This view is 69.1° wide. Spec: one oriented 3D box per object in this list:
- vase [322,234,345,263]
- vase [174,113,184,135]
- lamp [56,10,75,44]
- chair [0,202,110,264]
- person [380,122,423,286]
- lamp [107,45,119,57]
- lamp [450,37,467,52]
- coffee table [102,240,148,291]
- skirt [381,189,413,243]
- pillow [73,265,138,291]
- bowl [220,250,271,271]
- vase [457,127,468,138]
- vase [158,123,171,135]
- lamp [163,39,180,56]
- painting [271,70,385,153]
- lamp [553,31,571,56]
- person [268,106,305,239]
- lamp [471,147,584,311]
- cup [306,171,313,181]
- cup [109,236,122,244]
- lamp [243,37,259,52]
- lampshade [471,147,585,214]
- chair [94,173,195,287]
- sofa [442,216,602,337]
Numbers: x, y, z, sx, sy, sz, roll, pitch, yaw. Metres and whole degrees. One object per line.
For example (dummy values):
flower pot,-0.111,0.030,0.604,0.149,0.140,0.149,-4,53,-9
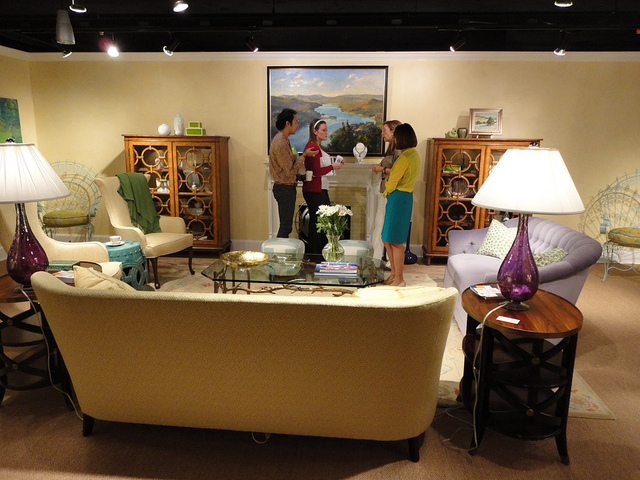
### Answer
vase,0.151,0.079,4.509,0.228,0.321,0.233,0,7,5
vase,-1.927,-1.585,6.412,0.126,0.244,0.162,-5,14,-19
lamp,-2.631,-2.223,4.809,0.142,0.344,0.240,-6,15,-24
chair,-2.426,-0.118,4.407,0.664,0.784,0.529,-1,15,-13
person,0.872,-0.349,5.158,0.384,1.817,0.289,4,14,17
lamp,-2.555,-2.367,5.760,0.114,0.144,0.260,-5,14,-22
lamp,1.715,-2.414,5.711,0.167,0.166,0.387,4,14,16
coffee table,-1.915,0.241,4.851,0.486,0.503,0.509,-1,7,-10
skirt,0.859,-0.262,5.173,0.305,0.602,0.180,2,14,7
pillow,-1.377,0.226,2.972,0.271,0.084,0.235,23,5,-10
bowl,-0.712,0.188,4.366,0.399,0.085,0.338,8,15,29
vase,1.906,-1.443,6.295,0.157,0.152,0.132,-14,19,-39
vase,-2.118,-1.525,6.429,0.157,0.147,0.159,-2,20,-8
lamp,-1.842,-2.429,5.839,0.174,0.181,0.362,-3,14,-14
painting,0.138,-1.811,6.330,1.277,0.960,0.055,0,8,4
lamp,2.988,-2.439,5.729,0.120,0.284,0.393,7,15,26
person,-0.427,-0.847,6.147,0.477,1.844,1.278,-1,13,-6
lamp,1.374,-0.075,3.194,0.710,1.128,0.704,-1,10,-20
cup,-0.121,-0.772,5.594,0.090,0.103,0.092,1,9,0
cup,-2.110,0.001,4.871,0.107,0.067,0.138,0,-3,34
lamp,-0.839,-2.453,5.833,0.136,0.146,0.313,0,13,-2
lampshade,1.334,-0.352,2.922,0.499,0.395,0.521,8,16,31
chair,-2.103,-0.160,5.690,1.090,1.274,0.967,-12,17,-42
sofa,1.879,0.369,4.531,1.076,1.151,1.792,3,11,2
